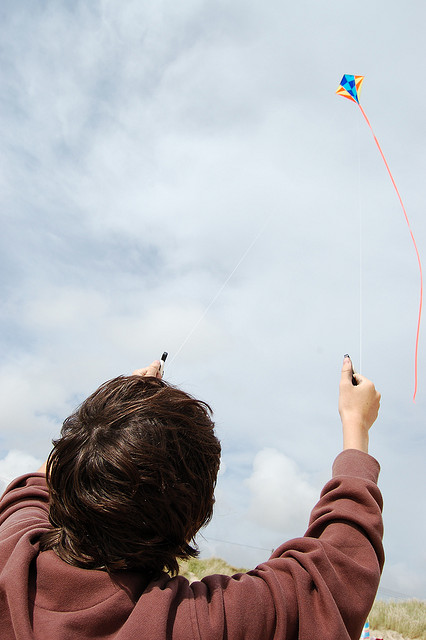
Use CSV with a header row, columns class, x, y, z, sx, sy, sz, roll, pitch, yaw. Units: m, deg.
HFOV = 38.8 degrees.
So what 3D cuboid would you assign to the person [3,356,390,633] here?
class,x,y,z,sx,sy,sz,roll,pitch,yaw
person,0.057,0.477,1.716,0.790,0.980,0.455,-1,-61,26
